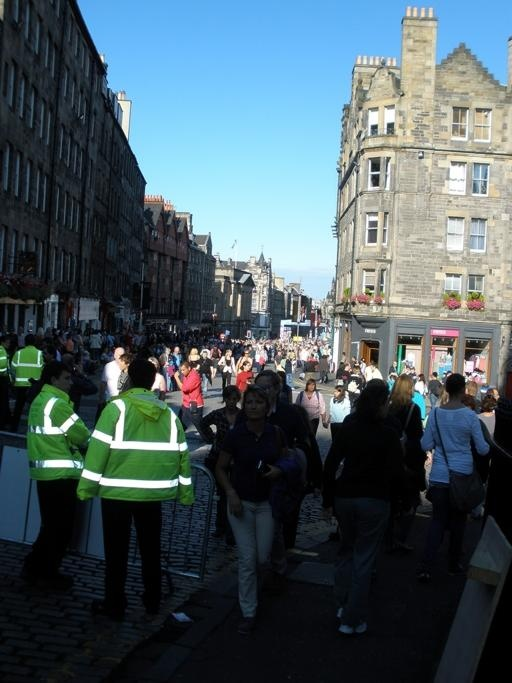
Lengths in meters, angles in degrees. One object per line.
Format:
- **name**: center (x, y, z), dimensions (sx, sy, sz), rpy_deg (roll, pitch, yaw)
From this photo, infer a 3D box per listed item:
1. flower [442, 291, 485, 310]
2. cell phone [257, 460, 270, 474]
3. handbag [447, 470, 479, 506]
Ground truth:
- **flower**: center (12.852, -2.534, 37.447), dimensions (1.805, 0.651, 1.322), rpy_deg (0, 26, 3)
- **cell phone**: center (0.049, 0.860, 4.065), dimensions (0.077, 0.082, 0.021), rpy_deg (38, 14, 21)
- **handbag**: center (1.773, 1.264, 5.153), dimensions (0.237, 0.295, 0.140), rpy_deg (-11, -13, -33)
